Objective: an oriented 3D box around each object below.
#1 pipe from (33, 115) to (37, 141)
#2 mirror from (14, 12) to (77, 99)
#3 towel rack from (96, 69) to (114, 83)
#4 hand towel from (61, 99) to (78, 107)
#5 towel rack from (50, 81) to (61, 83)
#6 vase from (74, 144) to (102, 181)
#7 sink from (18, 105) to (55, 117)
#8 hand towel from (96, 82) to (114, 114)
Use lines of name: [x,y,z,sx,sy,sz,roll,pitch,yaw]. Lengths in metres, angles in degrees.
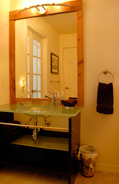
pipe: [-0.264,0.391,1.786,0.053,0.255,0.057,-1,6,-40]
mirror: [-0.141,-0.475,2.026,1.114,1.514,0.109,0,2,13]
towel rack: [0.479,-0.188,1.802,0.130,0.125,0.097,5,5,21]
hand towel: [0.103,0.126,1.907,0.205,0.090,0.129,0,1,38]
towel rack: [-0.051,-0.129,1.999,0.141,0.022,0.023,0,1,29]
vase: [0.292,0.729,1.783,0.312,0.371,0.289,-1,-3,-4]
sink: [-0.237,0.152,1.746,0.452,0.143,0.393,1,2,16]
hand towel: [0.480,0.063,1.726,0.165,0.326,0.064,0,1,15]
